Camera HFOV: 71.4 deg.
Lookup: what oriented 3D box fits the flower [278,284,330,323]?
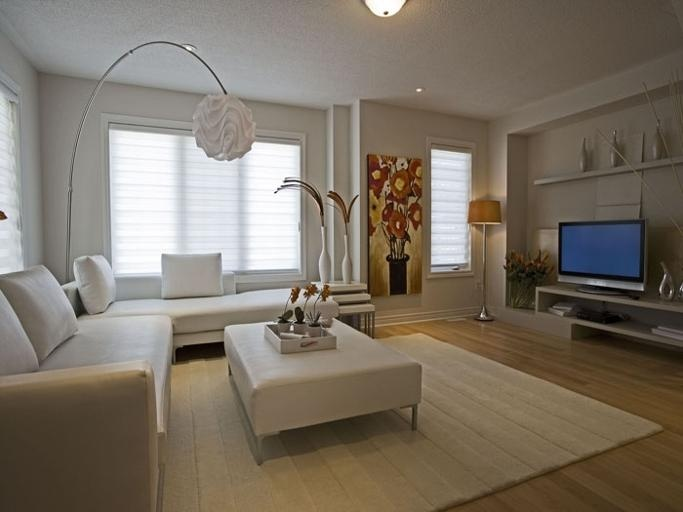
[{"bbox_3d":[-0.342,0.463,4.431,0.335,0.392,0.154,2,1,-22],"label":"flower"}]

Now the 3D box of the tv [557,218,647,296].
[{"bbox_3d":[2.883,-0.017,5.321,0.102,0.747,0.944,-3,4,-38],"label":"tv"}]

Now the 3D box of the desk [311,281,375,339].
[{"bbox_3d":[-0.041,0.685,5.434,0.513,0.557,0.817,-17,-13,37],"label":"desk"}]

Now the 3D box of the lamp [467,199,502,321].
[{"bbox_3d":[1.909,0.048,6.457,0.443,1.593,0.825,4,13,18],"label":"lamp"}]

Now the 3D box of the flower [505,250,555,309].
[{"bbox_3d":[2.386,0.333,6.371,0.665,0.850,0.683,2,-3,-18],"label":"flower"}]

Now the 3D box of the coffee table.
[{"bbox_3d":[-0.156,0.705,3.286,0.810,0.432,1.086,-2,6,-22],"label":"coffee table"}]
